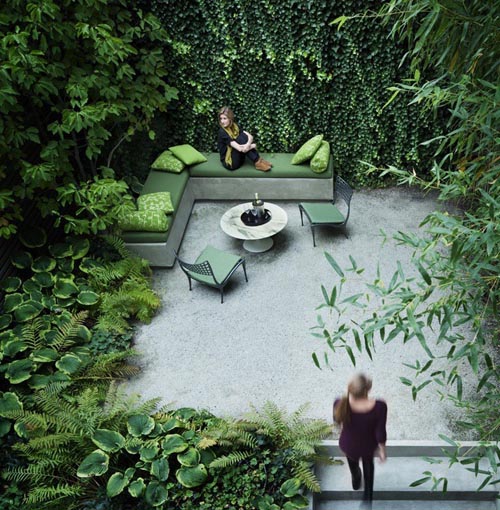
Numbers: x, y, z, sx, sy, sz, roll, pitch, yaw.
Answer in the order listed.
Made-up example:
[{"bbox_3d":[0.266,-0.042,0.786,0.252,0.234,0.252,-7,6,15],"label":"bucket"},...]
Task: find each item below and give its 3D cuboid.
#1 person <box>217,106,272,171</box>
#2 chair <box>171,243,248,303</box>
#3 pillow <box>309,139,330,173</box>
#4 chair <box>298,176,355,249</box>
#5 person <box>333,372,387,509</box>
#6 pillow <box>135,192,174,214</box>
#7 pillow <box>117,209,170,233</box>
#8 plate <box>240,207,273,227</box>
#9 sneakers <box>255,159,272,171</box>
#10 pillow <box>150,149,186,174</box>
[{"bbox_3d":[-0.101,-1.681,7.280,0.781,0.846,0.546,-1,43,2],"label":"person"},{"bbox_3d":[-0.485,0.148,5.976,0.578,0.565,0.724,20,39,30],"label":"chair"},{"bbox_3d":[1.045,-1.418,7.204,0.282,0.159,0.489,9,46,23],"label":"pillow"},{"bbox_3d":[1.045,-0.566,6.857,0.743,0.750,0.862,-4,31,-3],"label":"chair"},{"bbox_3d":[0.810,1.389,3.701,0.450,1.471,0.331,16,48,20],"label":"person"},{"bbox_3d":[-1.269,-0.699,6.559,0.382,0.098,0.361,-3,27,-7],"label":"pillow"},{"bbox_3d":[-1.355,-0.437,6.285,0.556,0.150,0.250,1,44,4],"label":"pillow"},{"bbox_3d":[0.074,-0.517,6.647,0.402,0.103,0.405,-3,39,-1],"label":"plate"},{"bbox_3d":[0.193,-1.328,7.347,0.269,0.090,0.159,14,50,14],"label":"sneakers"},{"bbox_3d":[-1.244,-1.380,7.432,0.421,0.114,0.395,4,38,5],"label":"pillow"}]
